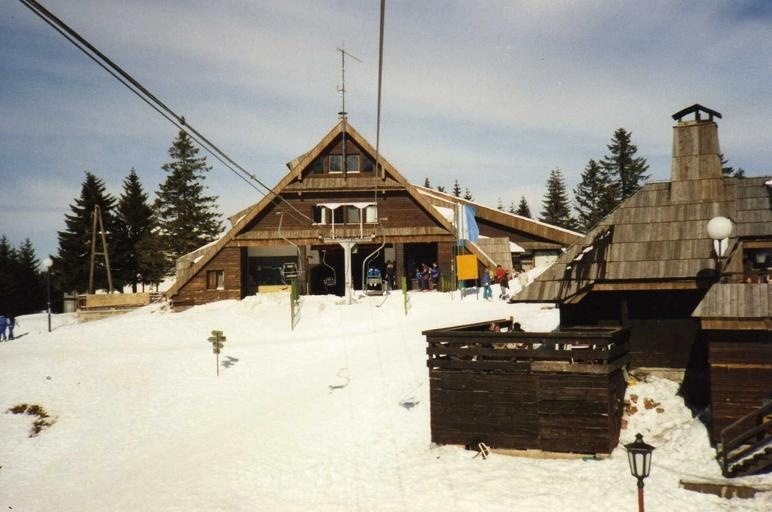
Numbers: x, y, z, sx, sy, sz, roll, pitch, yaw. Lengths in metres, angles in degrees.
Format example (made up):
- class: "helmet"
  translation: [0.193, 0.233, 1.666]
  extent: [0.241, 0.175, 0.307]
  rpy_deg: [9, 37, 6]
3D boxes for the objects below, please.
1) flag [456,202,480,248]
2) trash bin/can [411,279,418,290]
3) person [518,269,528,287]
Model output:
- class: "flag"
  translation: [5.918, -2.261, 54.950]
  extent: [1.219, 2.934, 1.783]
  rpy_deg: [1, 14, 18]
- class: "trash bin/can"
  translation: [2.173, 2.128, 57.824]
  extent: [0.647, 1.024, 0.656]
  rpy_deg: [-1, -9, 5]
- class: "person"
  translation: [9.877, 1.556, 54.458]
  extent: [0.603, 0.715, 1.044]
  rpy_deg: [-1, -3, 18]
